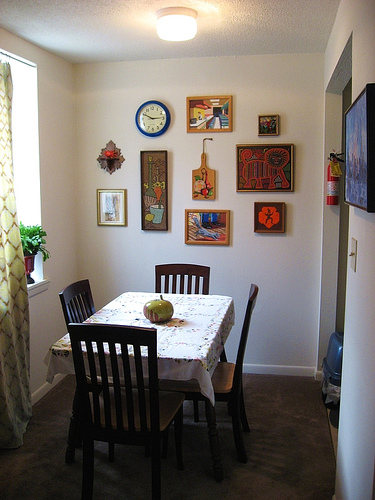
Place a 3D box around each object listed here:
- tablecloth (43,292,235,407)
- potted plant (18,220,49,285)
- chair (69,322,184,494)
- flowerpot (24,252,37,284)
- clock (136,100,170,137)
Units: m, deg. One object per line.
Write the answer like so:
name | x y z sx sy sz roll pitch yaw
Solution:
tablecloth | -0.188 0.446 2.098 0.764 0.196 1.047 2 10 11
potted plant | -1.047 0.012 2.659 0.197 0.436 0.435 -2 3 -23
chair | -0.244 0.633 1.591 0.363 0.750 0.424 1 3 13
flowerpot | -1.058 0.126 2.609 0.075 0.219 0.196 -2 3 -22
clock | -0.282 -1.051 3.041 0.224 0.302 0.077 1 12 -1
